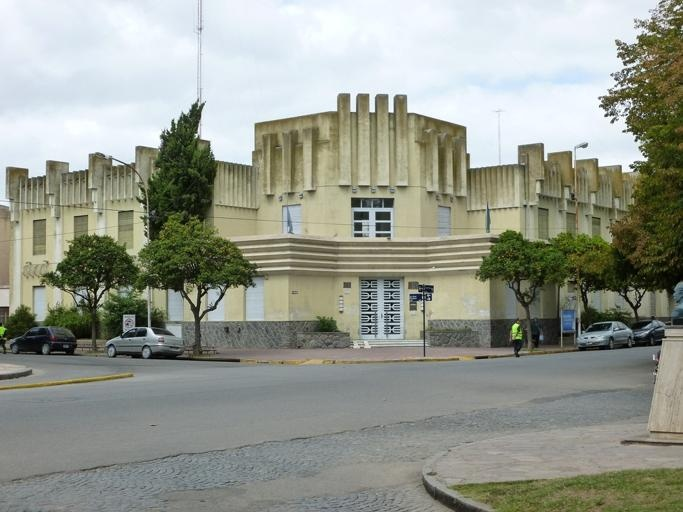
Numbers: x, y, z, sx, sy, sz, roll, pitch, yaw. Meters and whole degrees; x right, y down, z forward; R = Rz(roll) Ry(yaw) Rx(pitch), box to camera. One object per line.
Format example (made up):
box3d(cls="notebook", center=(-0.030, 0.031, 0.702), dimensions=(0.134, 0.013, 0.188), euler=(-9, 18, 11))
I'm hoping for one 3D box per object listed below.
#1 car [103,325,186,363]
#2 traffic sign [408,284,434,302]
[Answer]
box3d(cls="car", center=(-9.023, 3.992, 49.423), dimensions=(3.395, 1.191, 1.564), euler=(0, -4, 39))
box3d(cls="traffic sign", center=(3.973, 1.815, 53.212), dimensions=(0.951, 0.984, 0.201), euler=(2, -7, -5))
